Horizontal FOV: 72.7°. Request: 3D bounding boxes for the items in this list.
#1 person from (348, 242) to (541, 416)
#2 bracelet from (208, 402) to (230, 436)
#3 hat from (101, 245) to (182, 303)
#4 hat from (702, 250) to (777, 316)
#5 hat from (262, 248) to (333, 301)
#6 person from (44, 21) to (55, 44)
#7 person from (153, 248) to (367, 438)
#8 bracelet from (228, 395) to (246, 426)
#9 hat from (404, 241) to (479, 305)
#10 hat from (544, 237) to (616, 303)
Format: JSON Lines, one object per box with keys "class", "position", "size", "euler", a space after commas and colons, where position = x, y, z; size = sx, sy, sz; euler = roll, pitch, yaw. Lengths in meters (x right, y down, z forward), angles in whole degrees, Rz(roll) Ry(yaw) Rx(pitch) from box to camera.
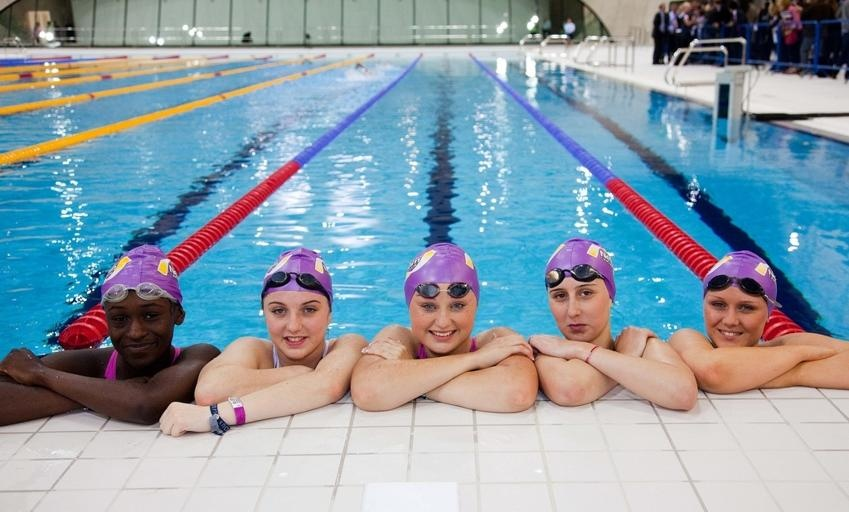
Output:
{"class": "person", "position": [0.105, 0.280, 2.401], "size": [0.787, 0.552, 0.708], "euler": [8, 17, 35]}
{"class": "bracelet", "position": [-0.773, 0.614, 2.163], "size": [0.099, 0.036, 0.083], "euler": [5, 43, -52]}
{"class": "hat", "position": [-1.177, 0.072, 2.398], "size": [0.303, 0.109, 0.373], "euler": [-6, 42, -17]}
{"class": "hat", "position": [1.380, 0.087, 2.482], "size": [0.289, 0.257, 0.158], "euler": [4, 16, 27]}
{"class": "hat", "position": [-0.535, 0.057, 2.488], "size": [0.259, 0.117, 0.329], "euler": [8, 15, -13]}
{"class": "person", "position": [-13.839, -8.313, 21.409], "size": [0.350, 0.739, 1.060], "euler": [-15, 25, -26]}
{"class": "person", "position": [-0.627, 0.317, 2.469], "size": [0.683, 0.543, 1.041], "euler": [3, 15, 9]}
{"class": "bracelet", "position": [-0.700, 0.583, 2.187], "size": [0.028, 0.084, 0.090], "euler": [-5, -6, -16]}
{"class": "hat", "position": [0.091, 0.110, 2.490], "size": [0.307, 0.306, 0.217], "euler": [15, 56, -24]}
{"class": "hat", "position": [0.700, 0.062, 2.515], "size": [0.342, 0.268, 0.252], "euler": [7, -10, -40]}
